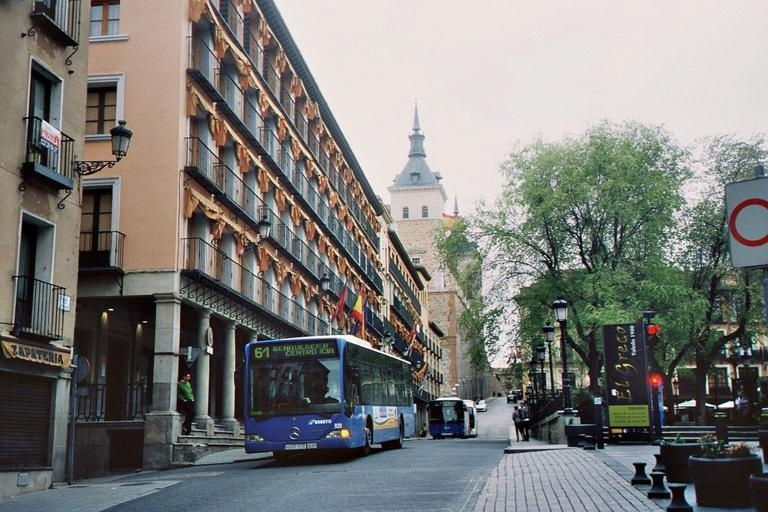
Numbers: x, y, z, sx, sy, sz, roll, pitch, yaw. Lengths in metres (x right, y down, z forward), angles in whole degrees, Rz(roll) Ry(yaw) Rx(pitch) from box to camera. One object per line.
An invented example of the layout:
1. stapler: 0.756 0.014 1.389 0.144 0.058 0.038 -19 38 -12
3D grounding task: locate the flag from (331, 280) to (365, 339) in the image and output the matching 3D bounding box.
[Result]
1. flag: -2.125 3.206 44.806 1.745 4.181 1.770 3 0 2

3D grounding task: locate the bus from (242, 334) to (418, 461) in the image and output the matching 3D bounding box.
1. bus: -1.458 5.729 31.158 3.902 4.612 13.359 -8 -18 12

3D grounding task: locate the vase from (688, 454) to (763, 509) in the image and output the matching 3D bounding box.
1. vase: 6.302 4.150 14.667 1.056 0.800 1.056 10 -18 -35
